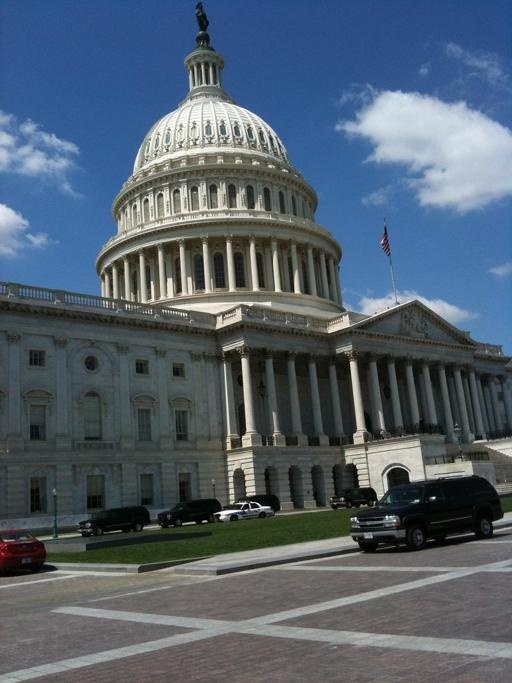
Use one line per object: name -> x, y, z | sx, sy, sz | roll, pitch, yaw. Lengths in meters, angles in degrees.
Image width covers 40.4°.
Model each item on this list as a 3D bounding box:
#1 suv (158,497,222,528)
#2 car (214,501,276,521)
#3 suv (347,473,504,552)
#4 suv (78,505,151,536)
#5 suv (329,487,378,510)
suv -> -4.025, 10.223, 41.519 | 3.445, 1.215, 1.628 | 10, -19, -37
car -> -0.692, 10.322, 42.354 | 2.874, 0.776, 1.292 | 11, -21, -30
suv -> 4.709, 4.784, 19.282 | 4.311, 1.525, 2.005 | 12, -23, -33
suv -> -7.901, 9.908, 38.504 | 3.330, 1.104, 1.514 | 14, -26, -39
suv -> 6.797, 10.264, 45.488 | 2.845, 1.066, 1.398 | 7, -17, -27
